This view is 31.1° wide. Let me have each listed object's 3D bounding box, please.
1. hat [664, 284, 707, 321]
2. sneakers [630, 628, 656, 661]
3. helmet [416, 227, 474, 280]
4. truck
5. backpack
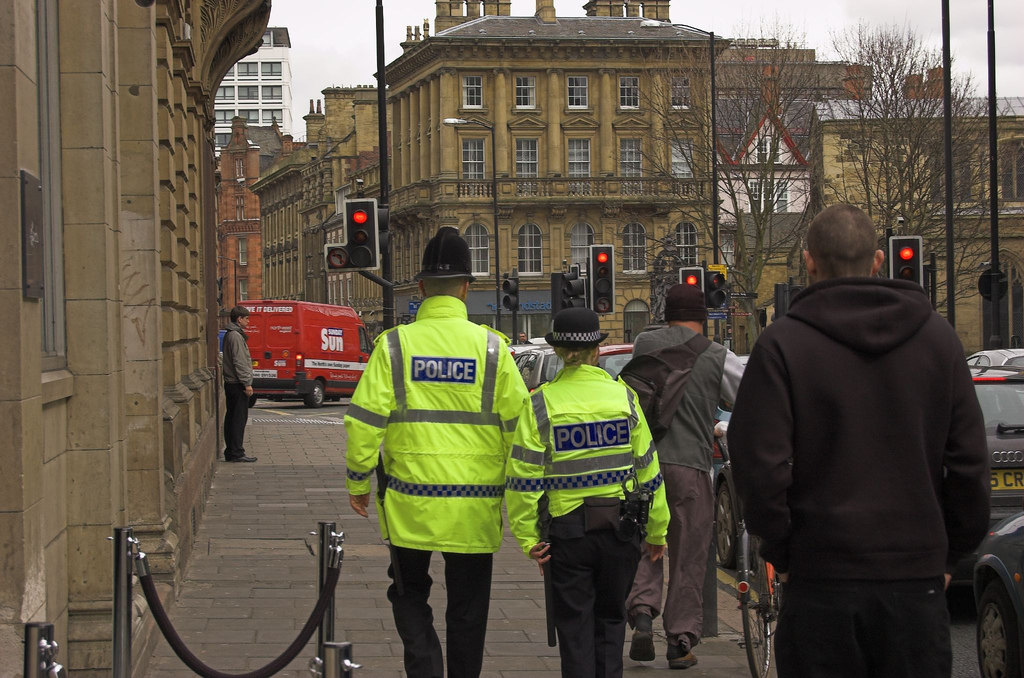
[{"bbox_3d":[1.285,-0.264,13.440,0.291,0.212,0.268,-1,3,1],"label":"hat"},{"bbox_3d":[0.945,2.182,13.029,0.149,0.213,0.235,1,-6,4],"label":"sneakers"},{"bbox_3d":[-0.398,-0.554,11.666,0.358,0.309,0.486,4,8,11],"label":"helmet"},{"bbox_3d":[-4.481,0.272,42.159,2.434,2.219,4.666,-1,1,25],"label":"truck"},{"bbox_3d":[1.093,0.295,13.261,0.411,0.744,0.600,28,-1,-27],"label":"backpack"}]
